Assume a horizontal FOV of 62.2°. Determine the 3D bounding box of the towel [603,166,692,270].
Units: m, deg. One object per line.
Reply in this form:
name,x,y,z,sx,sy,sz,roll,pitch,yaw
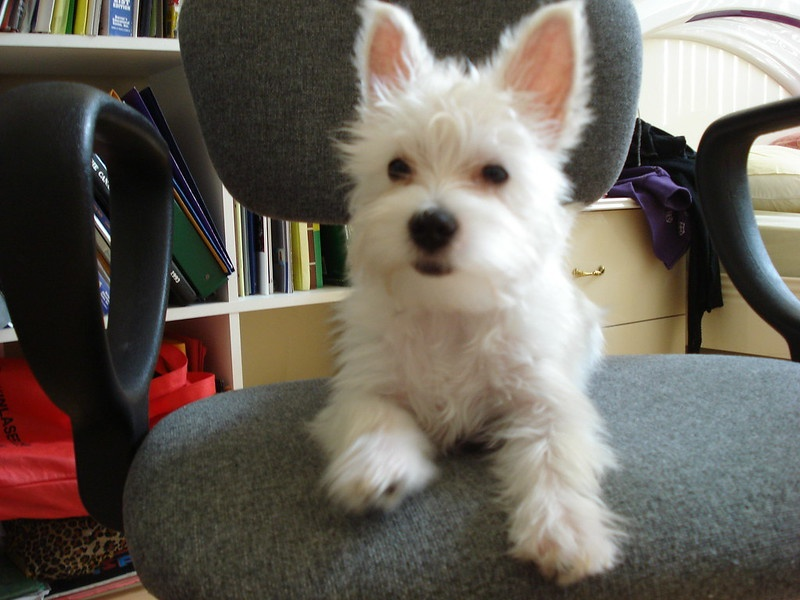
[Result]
towel,0.762,-0.229,1.980,0.260,0.290,0.099,21,38,29
